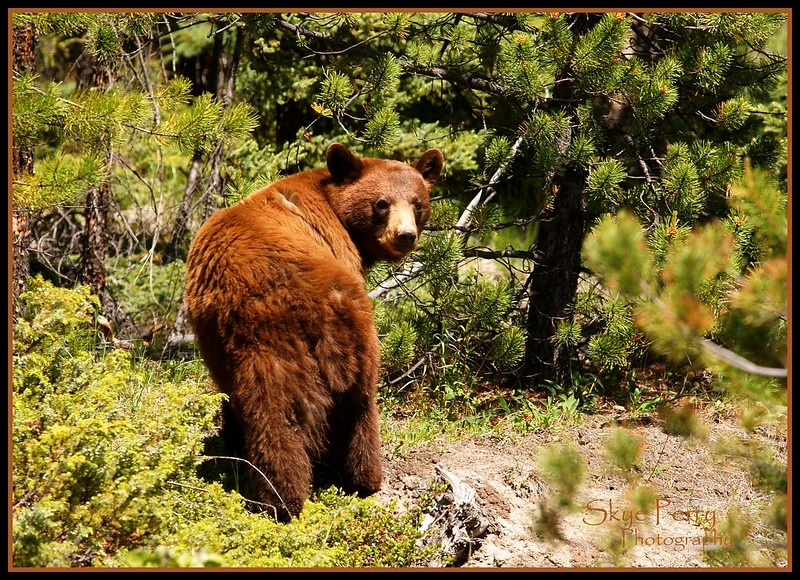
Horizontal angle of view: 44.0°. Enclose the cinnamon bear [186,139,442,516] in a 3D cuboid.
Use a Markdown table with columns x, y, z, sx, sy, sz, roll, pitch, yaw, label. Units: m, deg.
| x | y | z | sx | sy | sz | roll | pitch | yaw | label |
| --- | --- | --- | --- | --- | --- | --- | --- | --- | --- |
| -0.617 | 0.228 | 7.334 | 1.311 | 2.352 | 1.689 | 16 | 21 | 31 | cinnamon bear |
